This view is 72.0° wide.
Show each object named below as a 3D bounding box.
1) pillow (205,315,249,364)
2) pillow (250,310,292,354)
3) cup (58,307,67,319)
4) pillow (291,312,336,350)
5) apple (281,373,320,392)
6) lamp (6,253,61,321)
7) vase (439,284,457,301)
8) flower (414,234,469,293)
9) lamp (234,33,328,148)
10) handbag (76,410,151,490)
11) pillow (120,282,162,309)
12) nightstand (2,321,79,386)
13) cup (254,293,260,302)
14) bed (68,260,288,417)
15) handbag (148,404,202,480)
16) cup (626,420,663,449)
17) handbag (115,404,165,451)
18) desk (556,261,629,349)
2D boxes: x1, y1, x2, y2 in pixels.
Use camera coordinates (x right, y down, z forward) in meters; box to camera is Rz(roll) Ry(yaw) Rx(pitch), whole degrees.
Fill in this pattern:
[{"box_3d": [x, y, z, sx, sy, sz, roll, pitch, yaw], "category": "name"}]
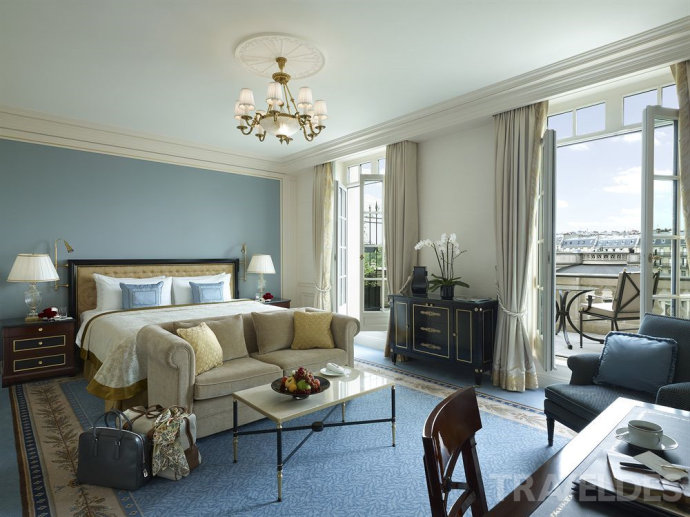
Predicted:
[{"box_3d": [-1.151, 0.793, 4.571, 0.358, 0.326, 0.175, -3, -33, -45], "category": "pillow"}, {"box_3d": [-0.783, 0.793, 4.974, 0.396, 0.283, 0.146, 1, -6, -44], "category": "pillow"}, {"box_3d": [-3.320, 0.654, 5.634, 0.082, 0.125, 0.131, 0, -4, -6], "category": "cup"}, {"box_3d": [-0.353, 0.788, 5.054, 0.325, 0.325, 0.132, -2, -27, -4], "category": "pillow"}, {"box_3d": [-0.337, 0.956, 3.739, 0.179, 0.106, 0.185, 2, -4, 5], "category": "apple"}, {"box_3d": [-3.582, 0.317, 5.503, 0.449, 0.757, 0.543, -5, 11, -25], "category": "lamp"}, {"box_3d": [1.211, 0.394, 5.569, 0.162, 0.174, 0.169, 0, -2, 12], "category": "vase"}, {"box_3d": [1.242, 0.080, 5.883, 0.683, 0.769, 0.615, -1, -1, -7], "category": "flower"}, {"box_3d": [-0.651, -1.687, 4.655, 0.849, 0.948, 0.878, -2, -8, 14], "category": "lamp"}, {"box_3d": [-1.709, 1.450, 3.529, 0.550, 0.548, 0.233, 1, 1, 24], "category": "handbag"}, {"box_3d": [-2.552, 0.474, 5.871, 0.297, 0.251, 0.106, 4, -38, -33], "category": "pillow"}, {"box_3d": [-3.491, 1.021, 5.551, 0.813, 0.863, 0.601, 2, -3, -43], "category": "nightstand"}, {"box_3d": [-1.339, 0.611, 7.342, 0.074, 0.141, 0.137, 4, -7, -41], "category": "cup"}, {"box_3d": [-2.398, 0.656, 5.553, 1.825, 1.117, 1.707, 1, -3, -42], "category": "bed"}, {"box_3d": [-1.287, 1.397, 3.707, 0.421, 0.516, 0.411, 1, 3, 25], "category": "handbag"}, {"box_3d": [1.529, 0.897, 2.402, 0.111, 0.078, 0.145, 1, 5, 9], "category": "cup"}, {"box_3d": [-1.585, 1.315, 3.712, 0.314, 0.133, 0.240, 6, 9, 41], "category": "handbag"}, {"box_3d": [3.488, 0.694, 6.670, 0.625, 0.835, 1.183, 0, -1, -19], "category": "desk"}]
